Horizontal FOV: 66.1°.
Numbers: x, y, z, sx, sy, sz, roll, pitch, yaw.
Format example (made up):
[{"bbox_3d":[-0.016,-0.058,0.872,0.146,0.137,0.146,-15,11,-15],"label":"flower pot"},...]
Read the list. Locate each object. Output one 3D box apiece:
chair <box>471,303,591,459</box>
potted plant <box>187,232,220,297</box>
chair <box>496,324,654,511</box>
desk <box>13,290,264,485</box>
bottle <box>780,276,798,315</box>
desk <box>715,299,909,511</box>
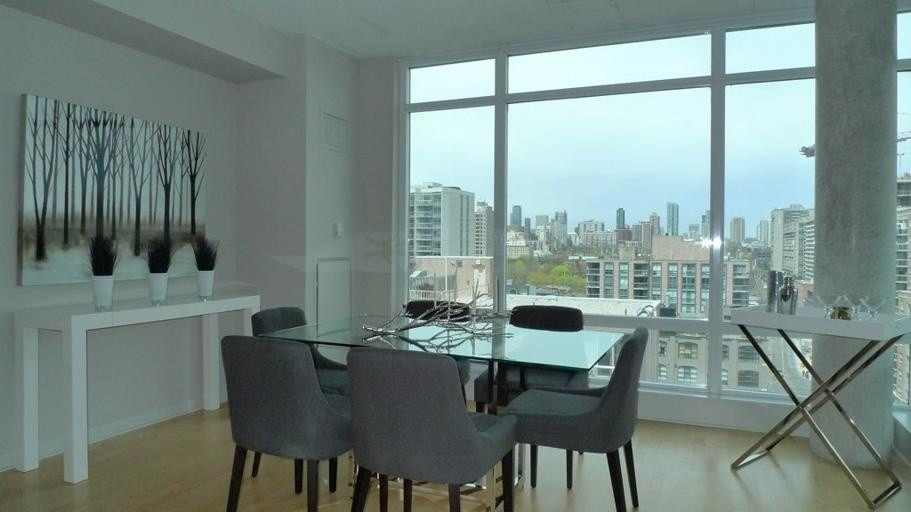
[{"bbox_3d":[0.807,1.126,7.017,1.200,1.673,1.401,0,-4,25],"label":"chair"},{"bbox_3d":[-2.807,0.095,7.828,0.280,0.678,0.579,-2,5,-21],"label":"potted plant"},{"bbox_3d":[1.169,1.435,6.930,1.658,2.065,1.341,2,-2,16],"label":"chair"},{"bbox_3d":[-3.253,1.331,6.973,0.606,1.204,1.776,2,4,27],"label":"desk"},{"bbox_3d":[3.188,0.373,6.710,0.145,0.333,0.230,2,5,25],"label":"bottle"},{"bbox_3d":[3.595,1.522,6.928,1.754,2.011,0.918,4,7,42],"label":"desk"}]
